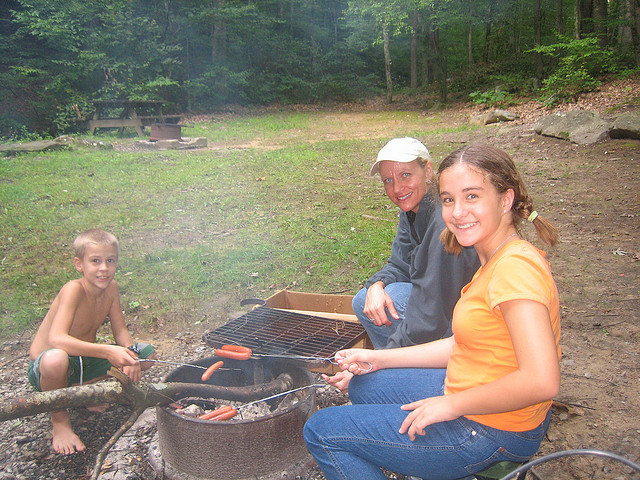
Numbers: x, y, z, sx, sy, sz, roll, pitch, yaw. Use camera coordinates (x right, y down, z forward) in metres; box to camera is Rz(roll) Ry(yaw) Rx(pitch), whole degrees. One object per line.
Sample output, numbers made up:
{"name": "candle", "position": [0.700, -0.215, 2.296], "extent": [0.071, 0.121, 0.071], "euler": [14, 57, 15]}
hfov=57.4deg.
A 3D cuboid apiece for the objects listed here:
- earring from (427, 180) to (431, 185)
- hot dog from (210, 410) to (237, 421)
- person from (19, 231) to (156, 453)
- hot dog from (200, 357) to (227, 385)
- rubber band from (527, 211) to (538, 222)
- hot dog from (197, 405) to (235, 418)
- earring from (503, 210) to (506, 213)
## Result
{"name": "earring", "position": [0.872, -0.461, 4.712], "extent": [0.032, 0.029, 0.009], "euler": [-3, -16, 3]}
{"name": "hot dog", "position": [-0.740, 1.343, 4.466], "extent": [0.059, 0.048, 0.225], "euler": [21, 19, 37]}
{"name": "person", "position": [-1.941, 0.763, 4.899], "extent": [1.052, 1.592, 1.153], "euler": [6, 6, 12]}
{"name": "hot dog", "position": [-0.885, 1.068, 4.803], "extent": [0.082, 0.077, 0.322], "euler": [35, 23, 9]}
{"name": "rubber band", "position": [1.391, -0.151, 3.838], "extent": [0.050, 0.066, 0.067], "euler": [15, -1, 6]}
{"name": "hot dog", "position": [-0.825, 1.352, 4.594], "extent": [0.241, 0.051, 0.057], "euler": [-14, -31, -17]}
{"name": "earring", "position": [1.202, -0.185, 3.822], "extent": [0.019, 0.018, 0.004], "euler": [-12, 14, -21]}
